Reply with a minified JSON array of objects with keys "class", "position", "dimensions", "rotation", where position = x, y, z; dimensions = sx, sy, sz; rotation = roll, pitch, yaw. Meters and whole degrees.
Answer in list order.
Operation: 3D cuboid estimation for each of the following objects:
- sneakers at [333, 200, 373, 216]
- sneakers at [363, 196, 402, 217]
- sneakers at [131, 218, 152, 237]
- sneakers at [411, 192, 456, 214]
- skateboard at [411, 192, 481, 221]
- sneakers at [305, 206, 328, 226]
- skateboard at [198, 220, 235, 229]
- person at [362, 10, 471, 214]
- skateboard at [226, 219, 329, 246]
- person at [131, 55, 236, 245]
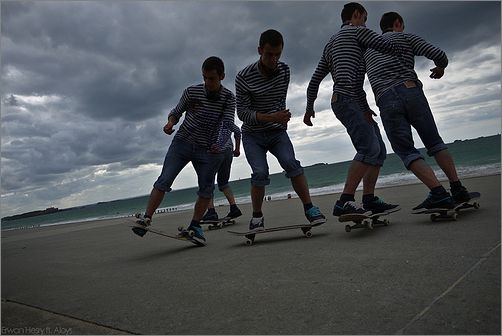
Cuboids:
[{"class":"sneakers","position":[1.265,0.492,3.413],"dimensions":[0.526,0.211,0.186],"rotation":[1,-4,7]},{"class":"sneakers","position":[1.744,0.533,3.635],"dimensions":[0.601,0.251,0.211],"rotation":[0,-7,3]},{"class":"sneakers","position":[-1.499,0.806,3.676],"dimensions":[0.130,0.164,0.374],"rotation":[17,-4,-6]},{"class":"sneakers","position":[2.176,0.434,3.294],"dimensions":[0.575,0.254,0.211],"rotation":[-6,-4,34]},{"class":"skateboard","position":[2.562,0.494,3.454],"dimensions":[0.783,0.200,0.214],"rotation":[-17,0,-12]},{"class":"sneakers","position":[0.870,0.632,3.571],"dimensions":[0.137,0.135,0.339],"rotation":[-20,-3,-14]},{"class":"skateboard","position":[-0.843,1.294,6.379],"dimensions":[0.956,0.154,0.286],"rotation":[-2,5,31]},{"class":"person","position":[2.116,-0.631,3.419],"dimensions":[0.906,2.597,0.275],"rotation":[-8,-4,4]},{"class":"skateboard","position":[0.638,0.855,3.722],"dimensions":[1.928,0.276,0.467],"rotation":[-5,-2,4]},{"class":"person","position":[-0.872,-0.188,4.042],"dimensions":[1.475,2.668,0.629],"rotation":[-8,-4,-2]}]
